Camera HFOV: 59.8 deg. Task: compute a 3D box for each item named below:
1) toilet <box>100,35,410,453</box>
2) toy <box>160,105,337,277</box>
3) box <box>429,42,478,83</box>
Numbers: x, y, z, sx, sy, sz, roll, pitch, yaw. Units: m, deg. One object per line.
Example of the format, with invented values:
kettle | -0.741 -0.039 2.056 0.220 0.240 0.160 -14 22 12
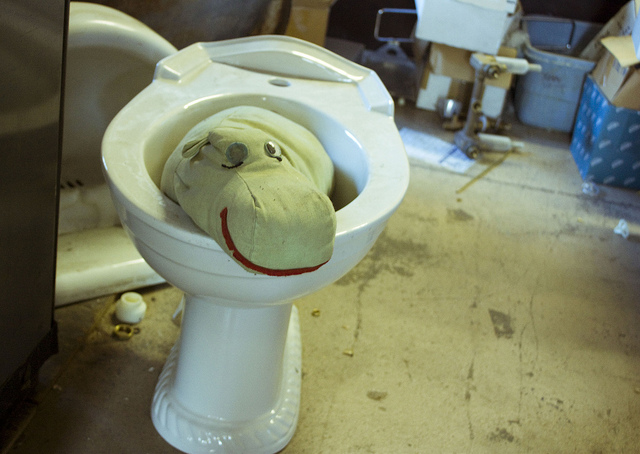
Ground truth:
toilet | -0.128 -0.053 1.320 0.592 0.745 0.881 15 40 -1
toy | -0.123 -0.097 1.016 0.294 0.159 0.444 5 31 -17
box | 0.492 -0.623 2.114 0.139 0.094 0.153 11 41 -6
